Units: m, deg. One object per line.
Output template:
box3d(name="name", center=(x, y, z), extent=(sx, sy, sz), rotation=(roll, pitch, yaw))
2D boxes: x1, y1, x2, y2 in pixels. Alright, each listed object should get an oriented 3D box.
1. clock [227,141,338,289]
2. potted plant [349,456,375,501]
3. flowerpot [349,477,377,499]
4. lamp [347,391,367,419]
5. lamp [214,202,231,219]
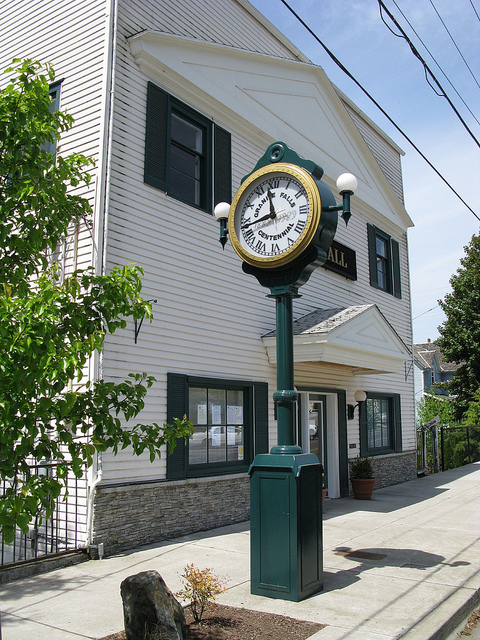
box3d(name="clock", center=(0.444, -0.947, 6.341), extent=(1.179, 1.265, 0.333), rotation=(-12, -14, 38))
box3d(name="potted plant", center=(2.477, 3.205, 12.895), extent=(0.508, 0.731, 0.501), rotation=(0, -15, 25))
box3d(name="flowerpot", center=(2.510, 3.395, 12.681), extent=(0.452, 0.307, 0.428), rotation=(5, -16, -16))
box3d(name="lamp", center=(2.621, 1.881, 13.899), extent=(0.368, 0.584, 0.660), rotation=(-8, -12, 24))
box3d(name="lamp", center=(-0.211, -1.194, 6.840), extent=(0.166, 0.183, 0.168), rotation=(15, 8, 26))
